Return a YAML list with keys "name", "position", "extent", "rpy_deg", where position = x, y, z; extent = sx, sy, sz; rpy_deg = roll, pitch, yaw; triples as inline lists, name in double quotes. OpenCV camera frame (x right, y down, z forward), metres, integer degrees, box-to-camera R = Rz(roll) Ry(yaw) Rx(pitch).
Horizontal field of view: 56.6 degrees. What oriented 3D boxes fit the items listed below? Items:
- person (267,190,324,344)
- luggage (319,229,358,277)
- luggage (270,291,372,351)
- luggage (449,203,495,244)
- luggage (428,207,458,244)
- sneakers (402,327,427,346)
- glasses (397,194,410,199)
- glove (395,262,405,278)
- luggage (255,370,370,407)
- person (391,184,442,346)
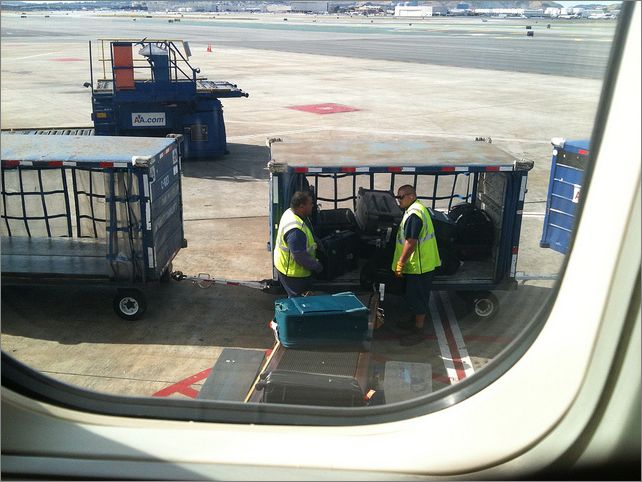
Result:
- name: "person"
  position: [-0.333, 0.344, 7.713]
  extent: [0.822, 2.006, 0.774]
  rpy_deg: [-10, 57, -9]
- name: "luggage"
  position: [0.232, 0.164, 8.811]
  extent: [0.275, 0.635, 0.774]
  rpy_deg: [12, 23, 37]
- name: "luggage"
  position: [-0.004, 0.884, 6.847]
  extent: [0.881, 0.383, 0.597]
  rpy_deg: [-4, 14, -15]
- name: "luggage"
  position: [2.350, -0.199, 9.429]
  extent: [0.598, 0.500, 0.746]
  rpy_deg: [-4, 21, 0]
- name: "luggage"
  position: [1.817, -0.209, 8.966]
  extent: [0.510, 0.353, 0.532]
  rpy_deg: [4, 23, -8]
- name: "sneakers"
  position: [1.221, 1.261, 7.961]
  extent: [0.381, 0.207, 0.171]
  rpy_deg: [-1, 18, -3]
- name: "glasses"
  position: [1.027, -0.589, 7.667]
  extent: [0.082, 0.062, 0.178]
  rpy_deg: [-6, 10, -32]
- name: "glove"
  position: [0.996, 0.358, 7.590]
  extent: [0.131, 0.162, 0.101]
  rpy_deg: [3, -1, 8]
- name: "luggage"
  position: [-0.090, 1.402, 5.695]
  extent: [1.029, 0.284, 0.590]
  rpy_deg: [3, 8, -7]
- name: "person"
  position: [1.236, 0.314, 7.813]
  extent: [0.613, 2.101, 0.616]
  rpy_deg: [0, 9, 7]
